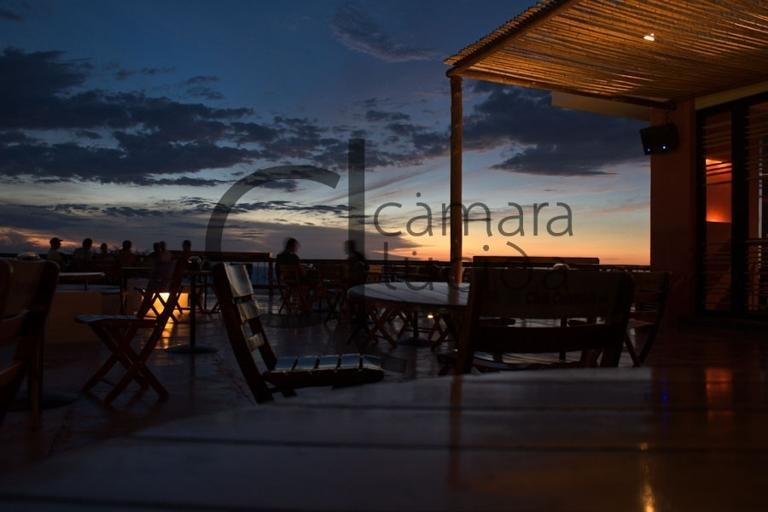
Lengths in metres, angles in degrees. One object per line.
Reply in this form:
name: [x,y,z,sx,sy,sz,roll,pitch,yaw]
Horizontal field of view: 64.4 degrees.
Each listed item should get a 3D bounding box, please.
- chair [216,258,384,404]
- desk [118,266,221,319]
chair: [-0.817,0.702,5.453,1.334,1.369,1.025,-2,14,-12]
desk: [-3.352,0.543,9.269,1.081,1.173,1.060,4,-6,-32]
